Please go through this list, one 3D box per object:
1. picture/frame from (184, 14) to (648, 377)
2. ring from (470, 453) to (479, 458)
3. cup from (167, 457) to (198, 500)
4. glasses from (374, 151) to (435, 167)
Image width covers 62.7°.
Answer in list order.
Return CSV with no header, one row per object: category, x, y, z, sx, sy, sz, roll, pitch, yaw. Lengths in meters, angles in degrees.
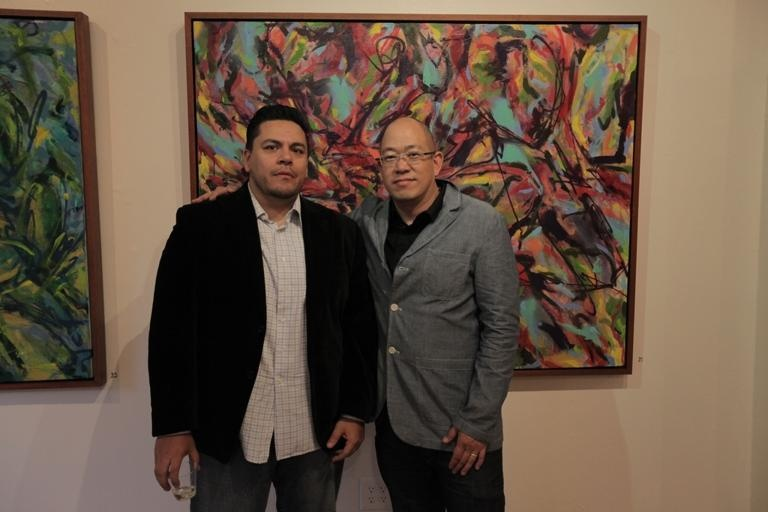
picture/frame,0.079,-0.390,3.190,1.964,1.516,0.071,-1,2,-8
ring,0.423,0.935,2.953,0.034,0.013,0.025,7,-36,-19
cup,-0.928,1.041,2.986,0.105,0.202,0.172,0,8,-1
glasses,0.114,-0.466,3.020,0.252,0.069,0.056,0,8,1
